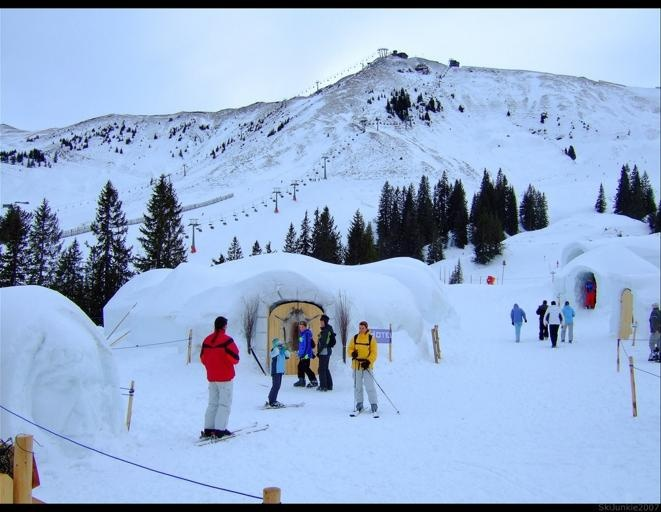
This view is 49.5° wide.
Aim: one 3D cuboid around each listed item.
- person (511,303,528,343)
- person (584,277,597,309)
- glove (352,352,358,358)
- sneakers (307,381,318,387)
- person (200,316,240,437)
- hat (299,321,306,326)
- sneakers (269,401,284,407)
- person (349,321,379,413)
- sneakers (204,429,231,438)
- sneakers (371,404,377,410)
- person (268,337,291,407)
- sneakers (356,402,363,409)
[{"bbox_3d":[6.572,2.319,25.094,0.440,1.317,2.306,-3,-5,15],"label":"person"},{"bbox_3d":[10.930,1.487,30.254,0.508,1.314,0.396,-4,-5,31],"label":"person"},{"bbox_3d":[0.509,2.114,15.380,0.114,0.169,0.118,-2,-5,1],"label":"glove"},{"bbox_3d":[-0.473,3.244,18.198,0.300,0.162,0.114,-3,-14,38],"label":"sneakers"},{"bbox_3d":[-2.237,2.405,14.256,0.731,2.370,0.616,-1,-5,-10],"label":"person"},{"bbox_3d":[-0.687,1.643,17.435,0.099,0.138,0.126,5,7,41],"label":"hat"},{"bbox_3d":[-1.230,3.303,15.993,0.302,0.158,0.115,-3,0,-1],"label":"sneakers"},{"bbox_3d":[0.703,2.465,15.699,0.626,2.048,0.995,-2,-5,4],"label":"person"},{"bbox_3d":[-2.281,3.518,14.223,0.350,0.116,0.235,2,-9,3],"label":"sneakers"},{"bbox_3d":[0.910,3.264,15.497,0.117,0.194,0.100,2,-15,-7],"label":"sneakers"},{"bbox_3d":[-1.252,2.672,16.745,0.502,1.534,2.029,-1,-5,-4],"label":"person"},{"bbox_3d":[0.611,3.246,15.585,0.127,0.151,0.090,9,-16,-16],"label":"sneakers"}]
